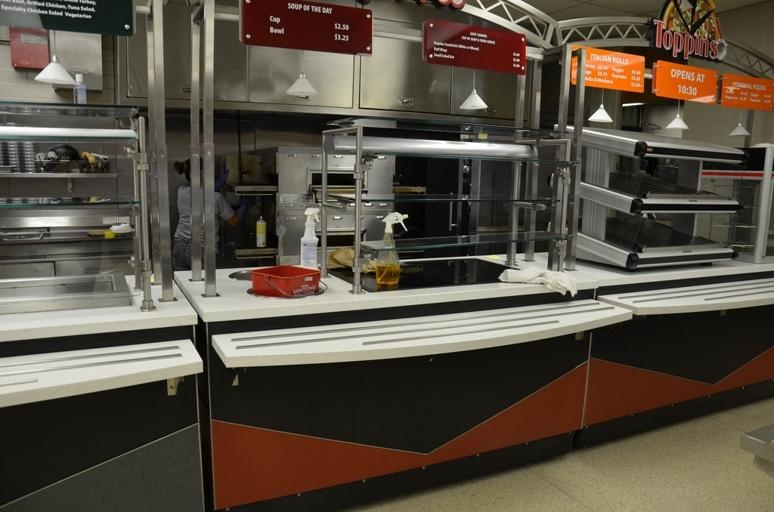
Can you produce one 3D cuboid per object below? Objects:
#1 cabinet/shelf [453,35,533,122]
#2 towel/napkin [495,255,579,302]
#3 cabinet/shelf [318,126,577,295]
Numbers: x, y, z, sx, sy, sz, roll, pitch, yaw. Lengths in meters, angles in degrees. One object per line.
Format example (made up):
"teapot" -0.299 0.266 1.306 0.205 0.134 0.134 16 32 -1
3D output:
"cabinet/shelf" 0.982 -1.583 5.050 0.507 0.687 2.819 1 13 6
"towel/napkin" 1.020 0.151 3.459 0.399 0.120 0.253 17 -1 -20
"cabinet/shelf" 0.453 -0.368 4.088 1.969 1.064 0.557 -4 7 -30
